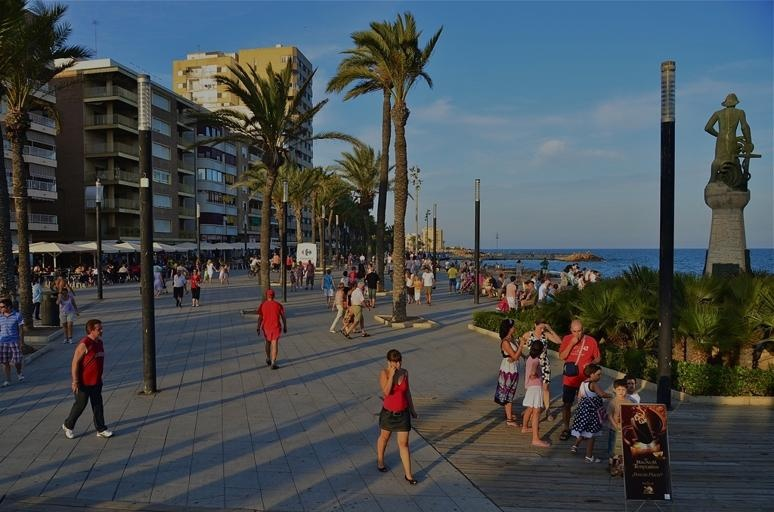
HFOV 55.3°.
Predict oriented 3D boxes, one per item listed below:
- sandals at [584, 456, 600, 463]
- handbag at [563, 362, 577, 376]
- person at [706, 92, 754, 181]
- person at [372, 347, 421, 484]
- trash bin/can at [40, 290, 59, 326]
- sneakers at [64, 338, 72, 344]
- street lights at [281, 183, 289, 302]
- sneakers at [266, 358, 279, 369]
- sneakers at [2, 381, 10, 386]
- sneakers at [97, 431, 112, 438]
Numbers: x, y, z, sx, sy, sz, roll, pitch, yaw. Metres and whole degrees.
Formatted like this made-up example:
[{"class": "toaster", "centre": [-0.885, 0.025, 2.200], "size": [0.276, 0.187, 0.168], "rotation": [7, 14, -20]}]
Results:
[{"class": "sandals", "centre": [4.887, 4.846, 17.651], "size": [0.359, 0.166, 0.140], "rotation": [-1, 2, -20]}, {"class": "handbag", "centre": [4.608, 2.826, 18.592], "size": [0.360, 0.373, 0.169], "rotation": [-6, -9, 37]}, {"class": "person", "centre": [12.238, -4.092, 26.334], "size": [1.410, 3.188, 1.081], "rotation": [4, 13, 18]}, {"class": "person", "centre": [0.212, 3.609, 17.273], "size": [0.917, 2.949, 1.397], "rotation": [0, 13, -1]}, {"class": "trash bin/can", "centre": [-12.885, 2.008, 28.416], "size": [0.782, 1.357, 0.795], "rotation": [0, 3, -9]}, {"class": "sneakers", "centre": [-11.184, 2.948, 25.957], "size": [0.132, 0.188, 0.395], "rotation": [-2, 4, -43]}, {"class": "street lights", "centre": [-5.033, -0.603, 36.811], "size": [0.375, 6.386, 0.375], "rotation": [-1, 2, -3]}, {"class": "sneakers", "centre": [-3.570, 3.346, 23.021], "size": [0.174, 0.211, 0.518], "rotation": [6, 9, -13]}, {"class": "sneakers", "centre": [-10.932, 3.638, 21.283], "size": [0.116, 0.147, 0.330], "rotation": [-1, -5, -4]}, {"class": "sneakers", "centre": [-7.001, 4.408, 18.363], "size": [0.352, 0.160, 0.146], "rotation": [0, 15, -12]}]
